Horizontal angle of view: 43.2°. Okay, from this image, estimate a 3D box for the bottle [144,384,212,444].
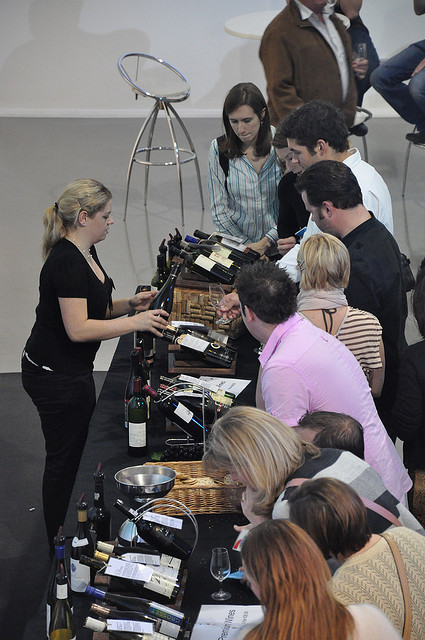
[{"bbox_3d":[-0.103,0.289,1.616,0.210,0.162,0.063,7,16,38],"label":"bottle"}]

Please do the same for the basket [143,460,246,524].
[{"bbox_3d":[-0.044,0.437,1.403,0.269,0.087,0.185,1,12,-5],"label":"basket"}]

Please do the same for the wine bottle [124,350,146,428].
[{"bbox_3d":[-0.265,0.241,1.859,0.087,0.277,0.084,5,-5,0],"label":"wine bottle"}]

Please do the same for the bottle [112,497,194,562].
[{"bbox_3d":[-0.127,0.484,1.171,0.160,0.150,0.122,-4,13,-5],"label":"bottle"}]

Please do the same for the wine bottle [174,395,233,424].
[{"bbox_3d":[-0.027,0.260,1.607,0.138,0.040,0.106,25,2,23],"label":"wine bottle"}]

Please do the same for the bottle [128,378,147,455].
[{"bbox_3d":[-0.242,0.297,1.706,0.064,0.209,0.181,-5,13,-6],"label":"bottle"}]

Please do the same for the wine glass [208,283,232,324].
[{"bbox_3d":[0.026,-0.062,2.218,0.075,0.186,0.214,-4,12,-2],"label":"wine glass"}]

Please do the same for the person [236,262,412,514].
[{"bbox_3d":[0.347,0.336,1.601,0.408,1.043,0.320,-13,23,10],"label":"person"}]

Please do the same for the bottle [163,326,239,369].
[{"bbox_3d":[-0.039,0.101,2.023,0.254,0.064,0.135,23,26,0],"label":"bottle"}]
